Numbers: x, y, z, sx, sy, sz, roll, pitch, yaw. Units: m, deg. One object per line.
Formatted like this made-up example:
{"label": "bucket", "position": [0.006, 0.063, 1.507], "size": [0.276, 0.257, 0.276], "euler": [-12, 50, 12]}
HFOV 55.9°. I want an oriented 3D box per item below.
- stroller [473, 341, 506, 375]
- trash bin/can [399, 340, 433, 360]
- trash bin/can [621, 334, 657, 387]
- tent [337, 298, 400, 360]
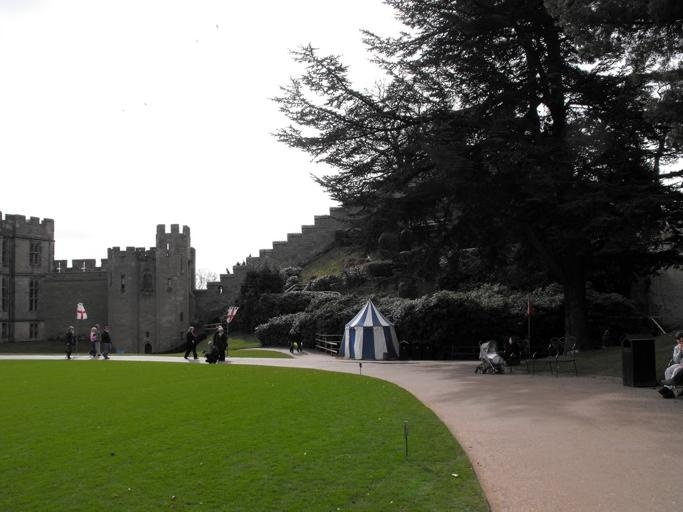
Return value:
{"label": "stroller", "position": [5.773, 3.862, 25.019], "size": [1.181, 1.294, 0.819], "euler": [3, -4, 21]}
{"label": "trash bin/can", "position": [4.139, 5.166, 35.978], "size": [1.813, 0.969, 0.538], "euler": [-1, 1, 3]}
{"label": "trash bin/can", "position": [8.816, 3.084, 19.000], "size": [0.895, 1.479, 0.633], "euler": [-1, 1, 24]}
{"label": "tent", "position": [1.608, 4.099, 35.823], "size": [3.123, 3.175, 1.587], "euler": [-1, 1, 4]}
